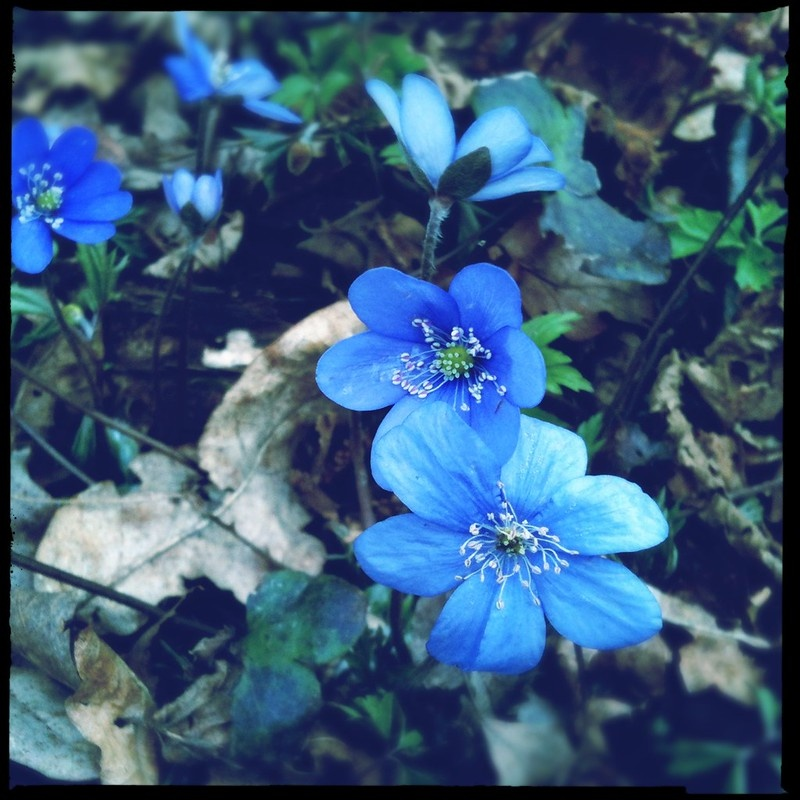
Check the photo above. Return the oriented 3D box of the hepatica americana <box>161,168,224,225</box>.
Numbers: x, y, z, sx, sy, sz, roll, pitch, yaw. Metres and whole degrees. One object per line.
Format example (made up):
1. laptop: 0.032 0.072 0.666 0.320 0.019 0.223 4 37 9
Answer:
1. hepatica americana: -0.218 -0.220 1.027 0.059 0.030 0.053 6 76 11

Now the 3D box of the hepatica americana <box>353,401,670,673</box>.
1. hepatica americana: 0.127 0.152 0.974 0.329 0.076 0.298 -16 38 -40

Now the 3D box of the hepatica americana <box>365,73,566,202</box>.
1. hepatica americana: 0.064 -0.259 0.947 0.198 0.061 0.117 5 73 9
